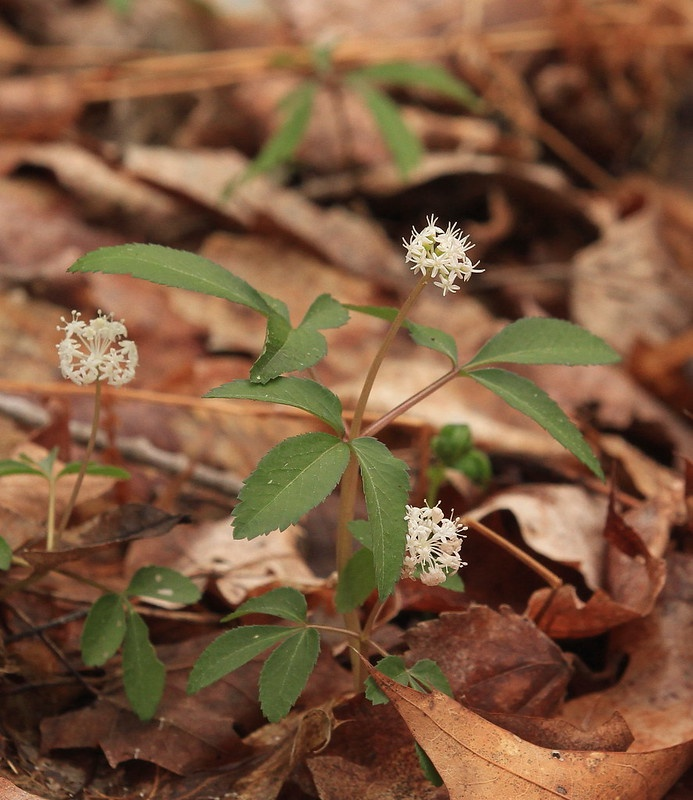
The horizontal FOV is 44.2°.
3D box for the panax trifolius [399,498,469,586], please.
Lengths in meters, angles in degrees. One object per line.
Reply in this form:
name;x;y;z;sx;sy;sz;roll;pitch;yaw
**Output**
panax trifolius;0.178;0.310;1.864;0.135;0.195;0.175;12;37;-2
